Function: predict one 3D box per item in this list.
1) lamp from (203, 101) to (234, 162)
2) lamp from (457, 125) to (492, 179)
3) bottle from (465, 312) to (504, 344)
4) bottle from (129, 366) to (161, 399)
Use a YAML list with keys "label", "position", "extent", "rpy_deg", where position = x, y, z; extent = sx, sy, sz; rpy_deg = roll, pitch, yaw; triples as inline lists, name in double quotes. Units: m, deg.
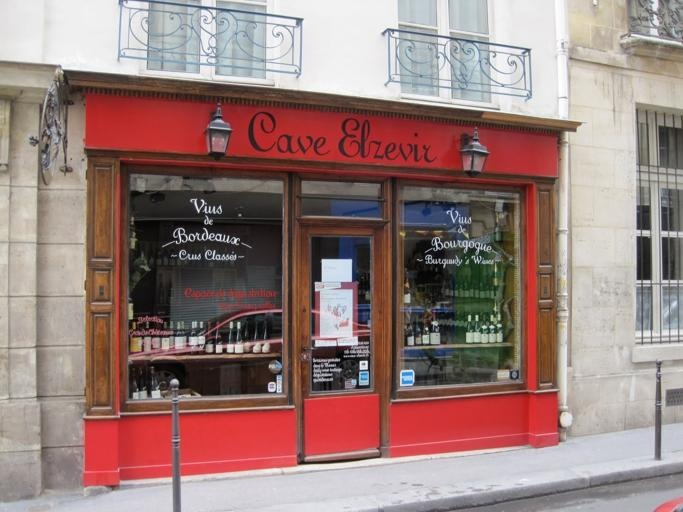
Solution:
- label: "lamp"
  position: [-1.666, -1.744, 14.093]
  extent: [0.369, 0.824, 0.517]
  rpy_deg: [-1, -4, -8]
- label: "lamp"
  position: [1.991, -1.567, 15.200]
  extent: [0.412, 0.760, 0.516]
  rpy_deg: [-2, -4, 8]
- label: "bottle"
  position: [2.198, 1.133, 15.809]
  extent: [0.424, 0.429, 0.146]
  rpy_deg: [3, -9, -16]
- label: "bottle"
  position: [-2.728, 1.778, 14.334]
  extent: [0.422, 0.427, 0.094]
  rpy_deg: [-1, -4, -6]
